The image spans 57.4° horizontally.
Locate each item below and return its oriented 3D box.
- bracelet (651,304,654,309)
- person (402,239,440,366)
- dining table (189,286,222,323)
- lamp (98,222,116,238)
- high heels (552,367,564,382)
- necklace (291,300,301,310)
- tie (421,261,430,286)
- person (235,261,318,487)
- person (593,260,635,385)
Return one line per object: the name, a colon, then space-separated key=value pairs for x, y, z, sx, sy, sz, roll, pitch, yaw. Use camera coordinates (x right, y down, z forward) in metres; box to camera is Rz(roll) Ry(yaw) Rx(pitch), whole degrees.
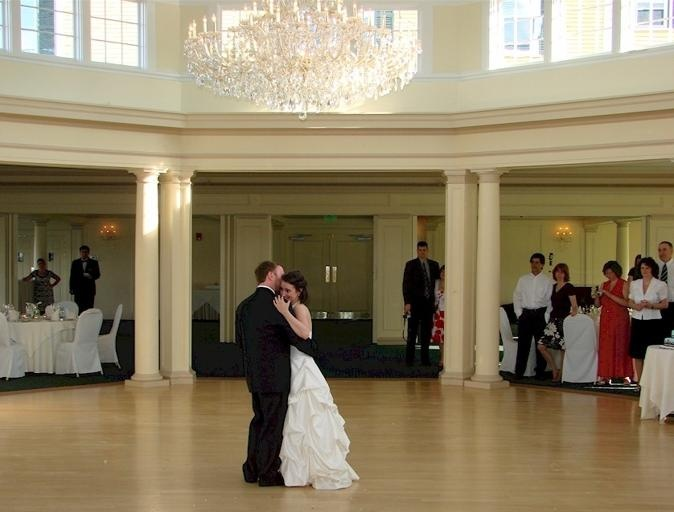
bracelet: x=4.228 y=0.676 z=8.238 sx=0.039 sy=0.047 sz=0.023 roll=1 pitch=1 yaw=28
person: x=1.446 y=0.825 z=10.682 sx=0.667 sy=2.151 sz=0.581 roll=0 pitch=1 yaw=-9
dining table: x=-3.867 y=1.408 z=18.210 sx=0.771 sy=1.095 sz=1.671 roll=0 pitch=1 yaw=-13
lamp: x=-6.581 y=-0.755 z=17.837 sx=0.384 sy=0.468 sz=0.148 roll=0 pitch=6 yaw=3
high heels: x=3.419 y=1.873 z=9.654 sx=0.118 sy=0.222 sz=0.195 roll=1 pitch=-4 yaw=-19
necklace: x=-0.371 y=0.433 z=5.391 sx=0.053 sy=0.058 sz=0.057 roll=-1 pitch=9 yaw=1
tie: x=1.516 y=0.299 z=10.507 sx=0.161 sy=0.459 sz=0.089 roll=0 pitch=1 yaw=-5
person: x=-0.596 y=1.039 z=5.435 sx=0.582 sy=1.980 sz=0.342 roll=0 pitch=1 yaw=-10
person: x=4.038 y=1.003 z=8.949 sx=0.460 sy=1.845 sz=0.783 roll=1 pitch=1 yaw=26
